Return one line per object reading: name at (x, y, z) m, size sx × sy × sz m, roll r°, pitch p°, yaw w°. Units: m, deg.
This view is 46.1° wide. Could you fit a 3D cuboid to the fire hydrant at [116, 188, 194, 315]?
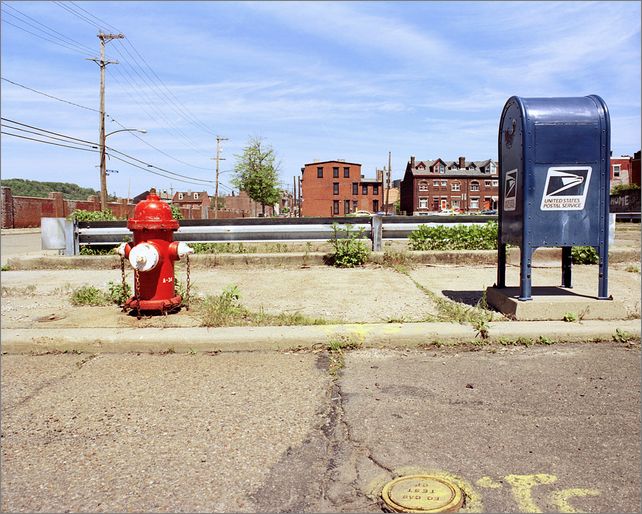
fire hydrant at (-1.982, -0.053, 8.949) m, size 0.826 × 1.479 × 0.670 m, roll -2°, pitch 6°, yaw -17°
